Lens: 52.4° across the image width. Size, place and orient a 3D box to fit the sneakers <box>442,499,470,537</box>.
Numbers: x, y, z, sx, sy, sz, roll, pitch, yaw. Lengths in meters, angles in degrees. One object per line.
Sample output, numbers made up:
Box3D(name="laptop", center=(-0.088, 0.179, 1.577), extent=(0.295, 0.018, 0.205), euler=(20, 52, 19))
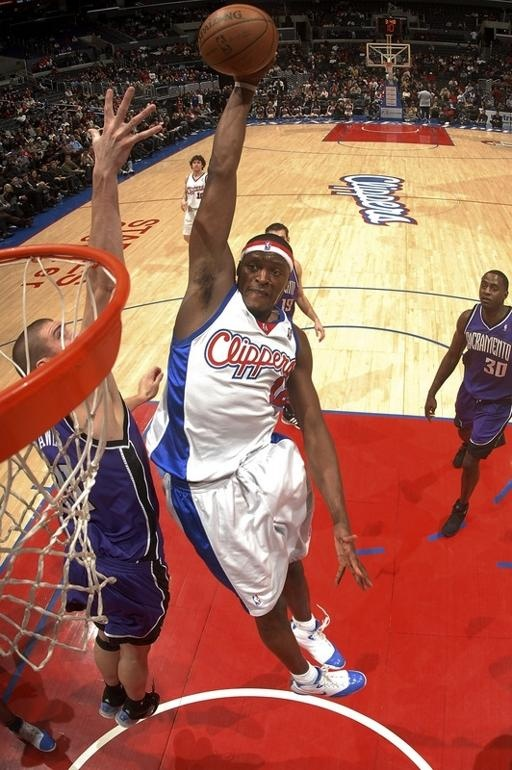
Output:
Box3D(name="sneakers", center=(1.222, 0.778, 3.218), extent=(0.102, 0.122, 0.306), euler=(20, 44, 29))

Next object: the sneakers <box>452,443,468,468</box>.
Box3D(name="sneakers", center=(1.411, 0.491, 3.589), extent=(0.064, 0.192, 0.075), euler=(16, -9, 30))

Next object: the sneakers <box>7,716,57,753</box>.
Box3D(name="sneakers", center=(-0.910, 1.405, 2.079), extent=(0.222, 0.086, 0.076), euler=(30, 63, 4))
